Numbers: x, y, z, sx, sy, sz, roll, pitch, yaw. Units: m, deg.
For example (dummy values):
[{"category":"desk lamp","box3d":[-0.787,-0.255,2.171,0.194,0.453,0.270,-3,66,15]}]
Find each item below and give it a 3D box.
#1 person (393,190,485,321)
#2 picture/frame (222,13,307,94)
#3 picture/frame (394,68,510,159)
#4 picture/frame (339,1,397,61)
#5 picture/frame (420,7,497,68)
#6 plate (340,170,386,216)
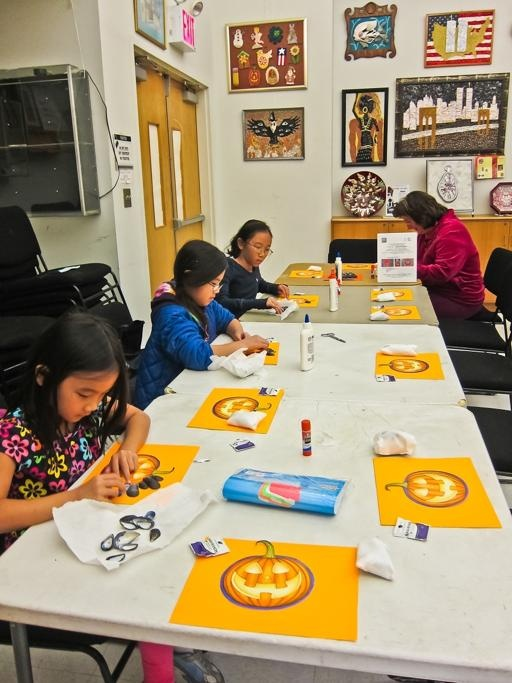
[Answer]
[{"category":"person","box3d":[1.228,-0.610,3.561,0.672,0.880,0.617,-13,11,-18]},{"category":"picture/frame","box3d":[0.124,-3.070,5.268,0.868,0.626,0.037,2,17,13]},{"category":"picture/frame","box3d":[2.030,-2.343,5.053,0.972,0.663,0.044,2,18,11]},{"category":"picture/frame","box3d":[1.150,-3.149,5.023,0.616,0.629,0.089,0,29,13]},{"category":"picture/frame","box3d":[2.016,-3.012,4.903,0.604,0.436,0.026,2,19,12]},{"category":"plate","box3d":[1.157,-1.583,5.363,0.467,0.468,0.163,3,22,8]}]
